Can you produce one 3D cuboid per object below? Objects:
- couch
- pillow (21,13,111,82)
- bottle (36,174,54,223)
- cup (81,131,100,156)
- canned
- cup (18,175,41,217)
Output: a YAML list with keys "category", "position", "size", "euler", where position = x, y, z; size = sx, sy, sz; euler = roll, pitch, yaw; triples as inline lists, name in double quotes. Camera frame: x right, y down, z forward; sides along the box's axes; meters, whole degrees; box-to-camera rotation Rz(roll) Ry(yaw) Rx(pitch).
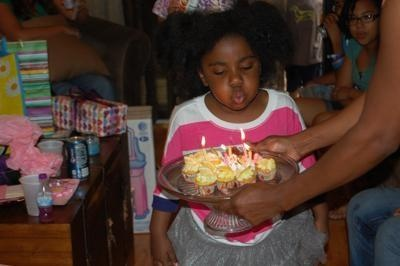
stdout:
- category: "couch"
  position: [-1.271, -0.948, 3.712]
  size: [1.123, 1.228, 0.936]
  euler: [-5, -1, -35]
- category: "pillow"
  position: [-1.343, -0.872, 3.244]
  size: [0.699, 0.632, 0.415]
  euler: [-12, 17, -33]
- category: "bottle"
  position: [-0.657, 0.262, 1.345]
  size: [0.060, 0.156, 0.205]
  euler: [-9, 16, -26]
- category: "cup"
  position: [-0.630, 0.071, 1.878]
  size: [0.102, 0.102, 0.106]
  euler: [-1, 7, 0]
- category: "canned"
  position: [-0.614, 0.132, 1.627]
  size: [0.153, 0.196, 0.154]
  euler: [-8, 11, -28]
- category: "cup"
  position: [-0.722, 0.266, 1.382]
  size: [0.098, 0.136, 0.100]
  euler: [3, 9, 0]
